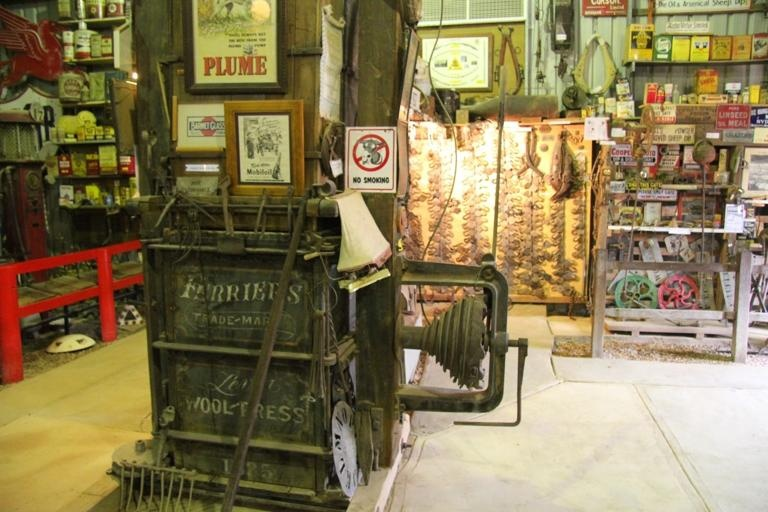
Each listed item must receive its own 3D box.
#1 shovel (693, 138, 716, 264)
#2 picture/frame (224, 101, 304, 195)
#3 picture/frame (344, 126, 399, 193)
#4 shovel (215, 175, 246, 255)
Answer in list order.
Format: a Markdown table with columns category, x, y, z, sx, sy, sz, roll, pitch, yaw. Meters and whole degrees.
| category | x | y | z | sx | sy | sz | roll | pitch | yaw |
| --- | --- | --- | --- | --- | --- | --- | --- | --- | --- |
| shovel | 4.928 | -0.687 | 10.445 | 0.400 | 2.267 | 0.406 | -2 | 28 | 19 |
| picture/frame | -1.108 | -1.039 | 6.328 | 0.836 | 0.987 | 0.072 | 0 | 5 | 3 |
| picture/frame | -0.114 | -0.933 | 6.424 | 0.578 | 0.737 | 0.099 | 1 | 8 | 6 |
| shovel | -1.469 | -0.387 | 6.355 | 0.243 | 0.694 | 0.326 | -4 | 13 | -11 |
